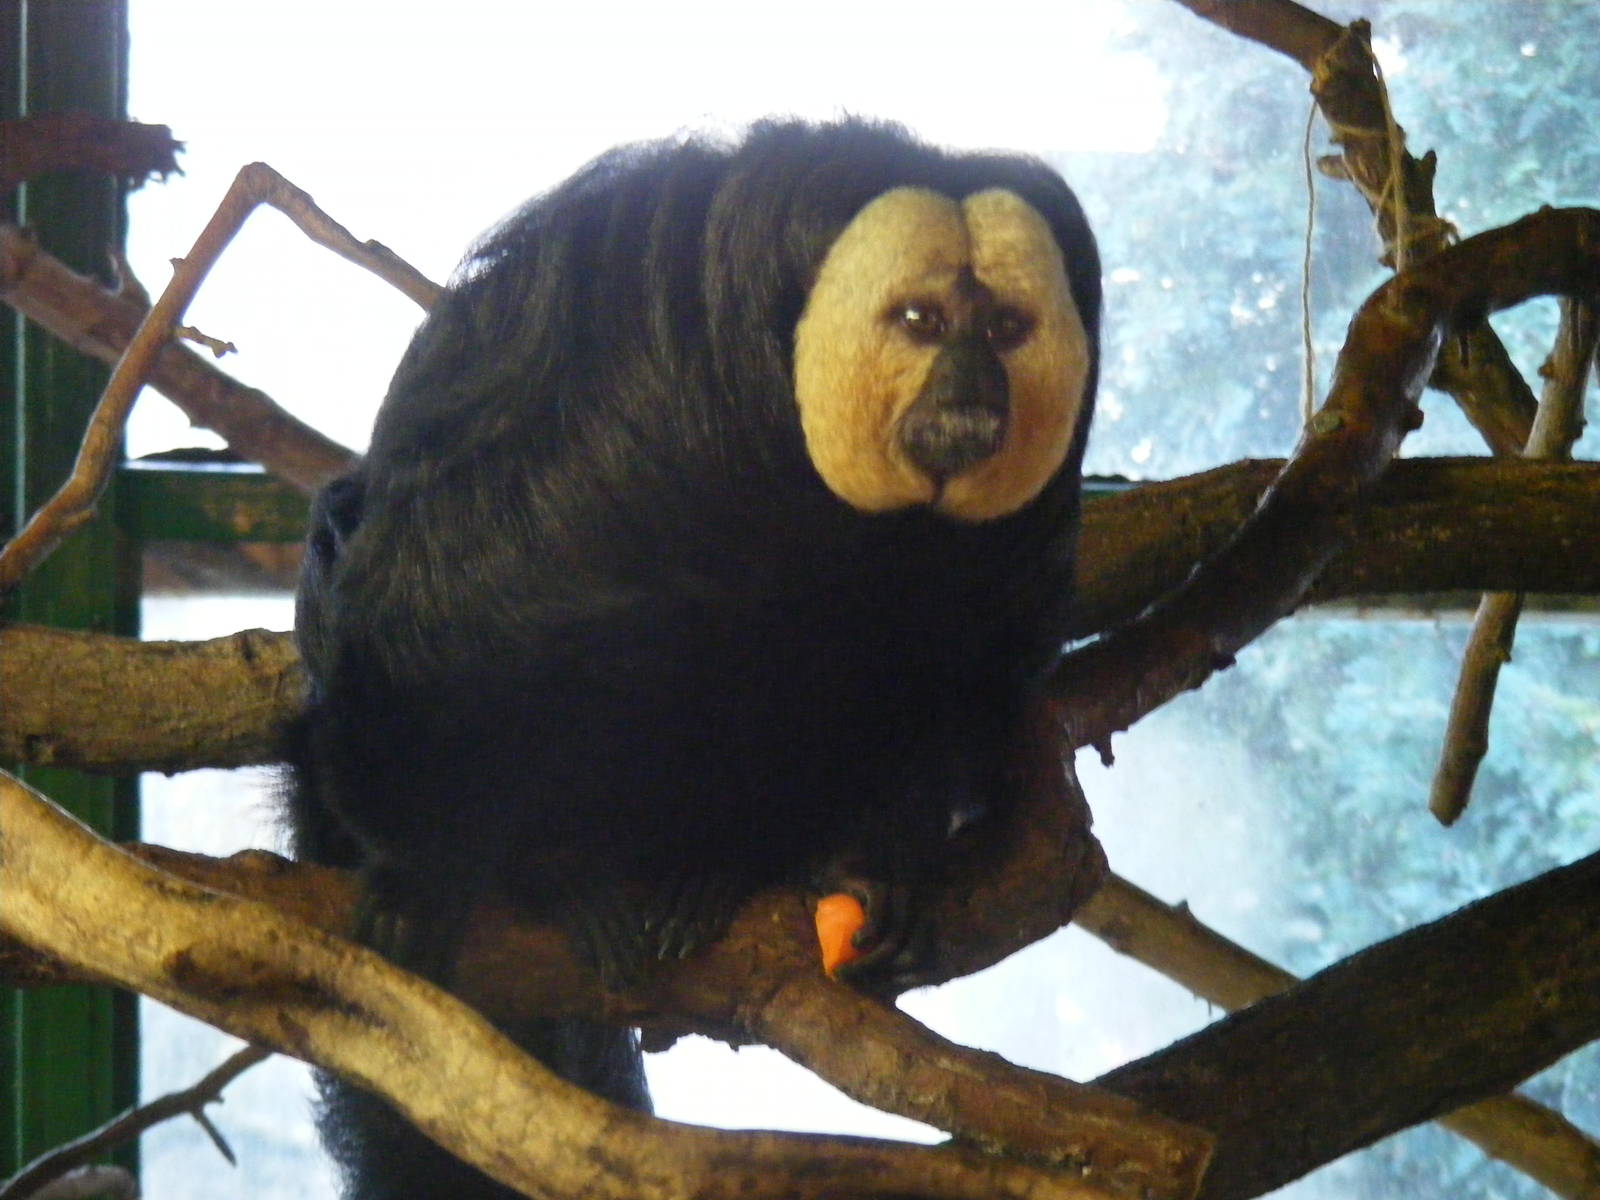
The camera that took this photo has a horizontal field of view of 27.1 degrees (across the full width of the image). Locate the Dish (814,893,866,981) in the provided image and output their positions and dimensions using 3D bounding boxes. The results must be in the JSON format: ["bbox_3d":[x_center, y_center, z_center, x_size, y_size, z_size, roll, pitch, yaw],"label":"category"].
[{"bbox_3d":[0.042,0.367,3.676,0.054,0.030,0.086,-4,81,27],"label":"Dish"}]
